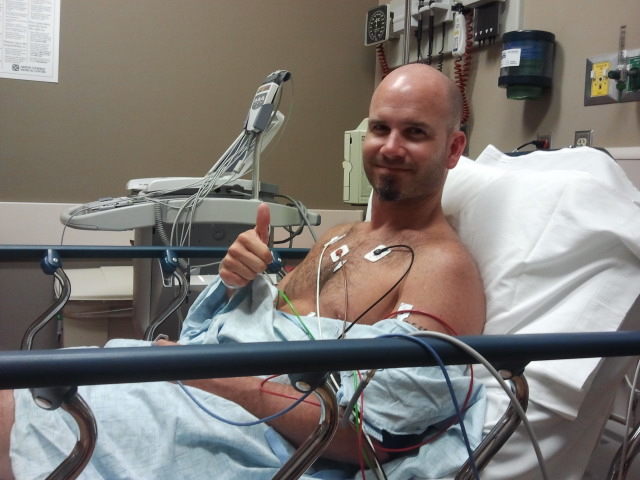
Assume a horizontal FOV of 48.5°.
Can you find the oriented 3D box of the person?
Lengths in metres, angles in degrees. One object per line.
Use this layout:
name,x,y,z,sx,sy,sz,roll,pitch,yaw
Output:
person,-0.129,0.152,2.219,1.492,1.212,0.794,4,-2,-23
